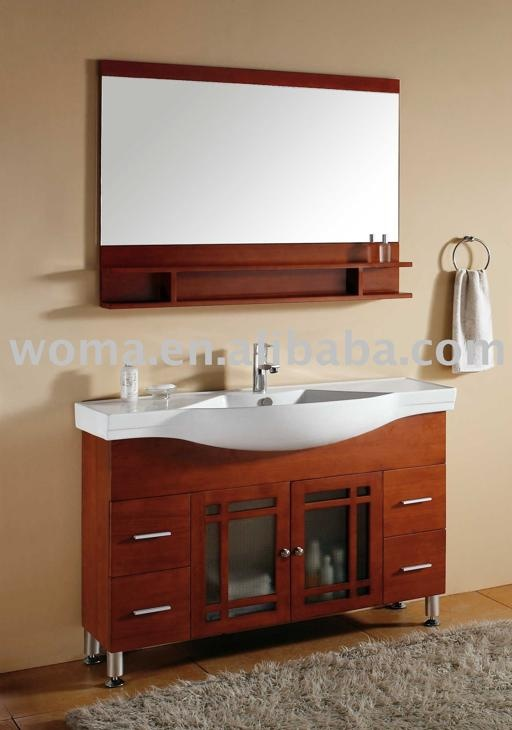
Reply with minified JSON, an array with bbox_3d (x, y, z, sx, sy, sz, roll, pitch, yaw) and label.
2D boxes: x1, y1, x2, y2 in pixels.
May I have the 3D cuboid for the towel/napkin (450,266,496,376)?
[{"bbox_3d":[0.892,-0.175,2.882,0.218,0.420,0.079,-5,8,-37],"label":"towel/napkin"}]

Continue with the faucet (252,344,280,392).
[{"bbox_3d":[0.031,0.008,2.478,0.087,0.168,0.164,0,6,0],"label":"faucet"}]

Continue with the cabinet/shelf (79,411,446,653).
[{"bbox_3d":[-0.013,0.513,2.199,0.817,0.480,0.220,-3,10,-23],"label":"cabinet/shelf"}]

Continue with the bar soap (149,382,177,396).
[{"bbox_3d":[-0.303,0.085,2.243,0.088,0.040,0.071,-3,7,-27],"label":"bar soap"}]
